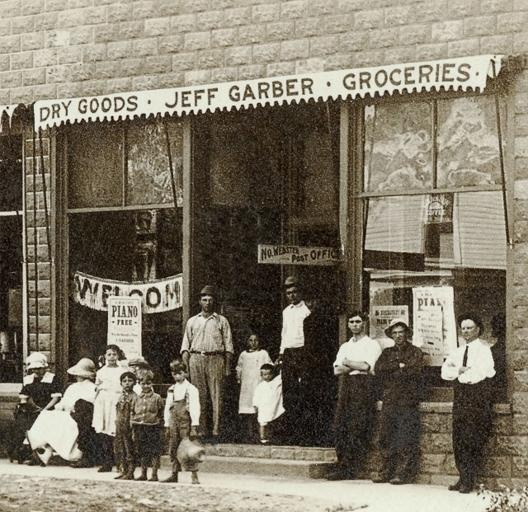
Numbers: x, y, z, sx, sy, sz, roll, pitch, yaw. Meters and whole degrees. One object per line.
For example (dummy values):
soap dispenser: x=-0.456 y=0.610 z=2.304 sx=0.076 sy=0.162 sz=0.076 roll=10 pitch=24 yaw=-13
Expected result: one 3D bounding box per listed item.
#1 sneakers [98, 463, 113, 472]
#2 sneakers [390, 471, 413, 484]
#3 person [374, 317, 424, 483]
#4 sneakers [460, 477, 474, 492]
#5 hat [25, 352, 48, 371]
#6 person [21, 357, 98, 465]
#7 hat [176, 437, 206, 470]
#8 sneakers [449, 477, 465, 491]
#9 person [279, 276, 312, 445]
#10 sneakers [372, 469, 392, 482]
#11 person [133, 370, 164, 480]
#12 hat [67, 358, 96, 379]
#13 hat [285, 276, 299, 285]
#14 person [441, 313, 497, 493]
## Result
sneakers: x=-1.705 y=2.315 z=10.345 sx=0.120 sy=0.134 sz=0.085 roll=2 pitch=-33 yaw=12
sneakers: x=1.360 y=2.185 z=9.377 sx=0.211 sy=0.103 sz=0.101 roll=-2 pitch=-3 yaw=12
person: x=1.347 y=1.454 z=9.552 sx=0.491 sy=1.577 sz=0.353 roll=-1 pitch=-3 yaw=3
sneakers: x=1.904 y=2.153 z=8.936 sx=0.129 sy=0.158 sz=0.072 roll=5 pitch=-18 yaw=1
hat: x=-2.643 y=1.228 z=11.164 sx=0.167 sy=0.196 sz=0.235 roll=2 pitch=-32 yaw=-8
person: x=-2.263 y=1.757 z=10.762 sx=0.773 sy=1.132 sz=0.535 roll=-1 pitch=-3 yaw=-13
hat: x=-0.716 y=1.961 z=9.431 sx=0.069 sy=0.301 sz=0.278 roll=-15 pitch=16 yaw=42
sneakers: x=1.827 y=2.162 z=9.024 sx=0.123 sy=0.152 sz=0.073 roll=2 pitch=-10 yaw=17
person: x=0.350 y=1.122 z=10.543 sx=0.361 sy=1.780 sz=0.773 roll=-1 pitch=-3 yaw=7
sneakers: x=1.173 y=2.138 z=9.496 sx=0.179 sy=0.153 sz=0.103 roll=-2 pitch=-4 yaw=33
person: x=-1.183 y=1.723 z=9.762 sx=0.367 sy=1.086 sz=0.339 roll=-2 pitch=-3 yaw=16
hat: x=-2.067 y=1.316 z=10.985 sx=0.225 sy=0.138 sz=0.235 roll=18 pitch=-3 yaw=35
hat: x=0.331 y=0.285 z=10.954 sx=0.095 sy=0.030 sz=0.102 roll=-36 pitch=25 yaw=-26
person: x=1.974 y=1.393 z=9.139 sx=0.496 sy=1.624 sz=0.474 roll=-2 pitch=-3 yaw=12
